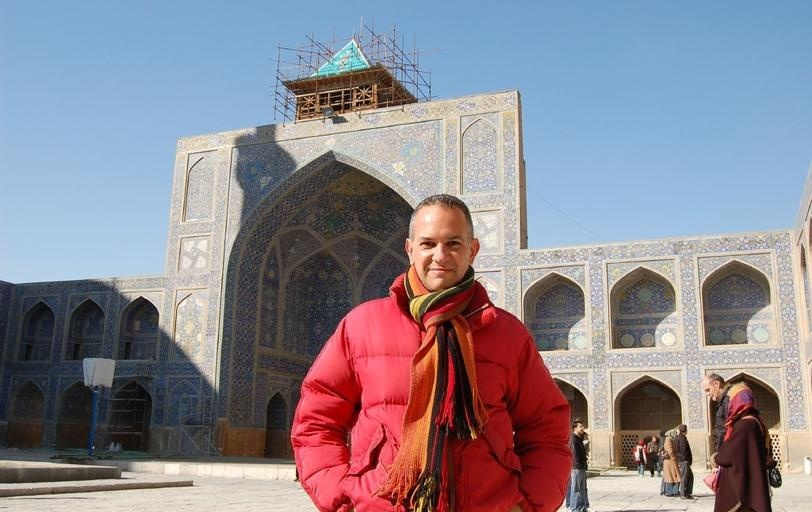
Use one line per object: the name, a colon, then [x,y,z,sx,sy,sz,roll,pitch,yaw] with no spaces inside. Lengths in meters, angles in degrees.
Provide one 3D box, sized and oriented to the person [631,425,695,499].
person: [3.627,2.762,9.604,0.412,0.934,0.911,-4,-13,19]
